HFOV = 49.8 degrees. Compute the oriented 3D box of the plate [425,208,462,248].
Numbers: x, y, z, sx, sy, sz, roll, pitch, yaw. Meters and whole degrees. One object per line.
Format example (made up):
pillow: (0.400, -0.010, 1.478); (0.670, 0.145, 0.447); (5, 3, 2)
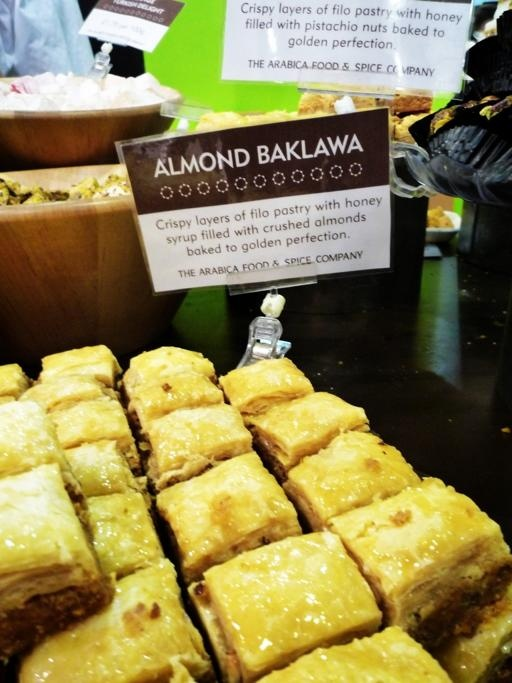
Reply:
plate: (0.693, -0.407, 2.043); (0.187, 0.082, 0.238); (2, 39, 14)
